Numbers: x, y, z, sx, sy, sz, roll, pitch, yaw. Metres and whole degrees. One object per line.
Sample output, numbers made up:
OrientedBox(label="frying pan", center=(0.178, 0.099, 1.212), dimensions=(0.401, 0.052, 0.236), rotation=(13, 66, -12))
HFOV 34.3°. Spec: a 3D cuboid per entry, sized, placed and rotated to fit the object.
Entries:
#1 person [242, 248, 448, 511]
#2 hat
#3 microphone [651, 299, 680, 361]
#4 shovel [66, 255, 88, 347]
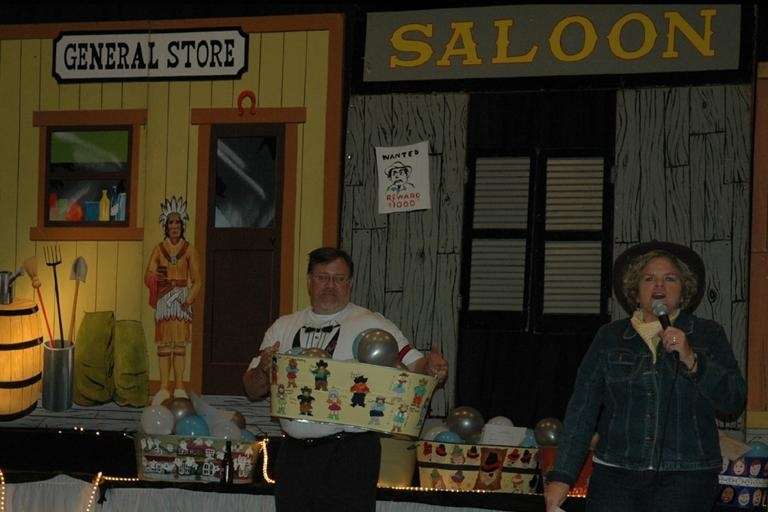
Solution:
OrientedBox(label="person", center=(-0.324, 0.789, 8.075), dimensions=(1.164, 1.699, 0.511), rotation=(2, -4, -8))
OrientedBox(label="hat", center=(1.709, 0.149, 7.949), dimensions=(0.688, 0.248, 0.873), rotation=(9, 21, 4))
OrientedBox(label="microphone", center=(1.709, 0.436, 7.503), dimensions=(0.097, 0.415, 0.107), rotation=(-7, -18, 9))
OrientedBox(label="shovel", center=(-2.441, 0.360, 9.771), dimensions=(0.112, 0.709, 0.031), rotation=(3, 6, -36))
